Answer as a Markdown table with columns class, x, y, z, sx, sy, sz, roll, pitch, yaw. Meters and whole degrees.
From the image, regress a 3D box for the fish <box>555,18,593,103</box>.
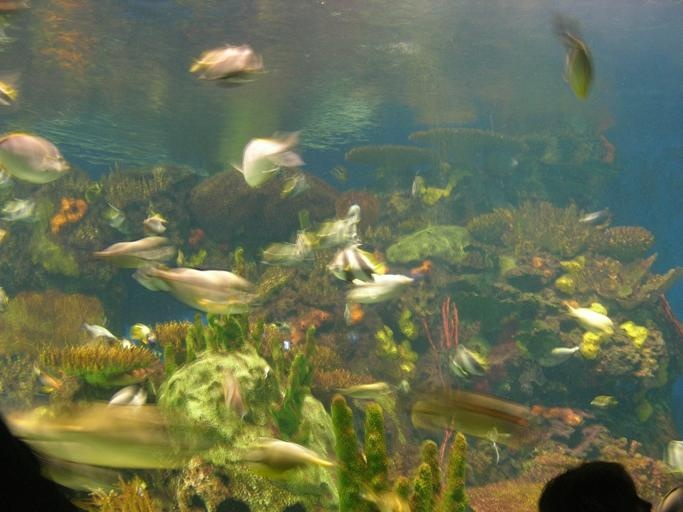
| class | x | y | z | sx | sy | sz | roll | pitch | yaw |
| --- | --- | --- | --- | --- | --- | --- | --- | --- | --- |
| fish | 4.133 | -3.446 | 13.530 | 0.450 | 1.605 | 0.237 | -10 | -1 | 31 |
